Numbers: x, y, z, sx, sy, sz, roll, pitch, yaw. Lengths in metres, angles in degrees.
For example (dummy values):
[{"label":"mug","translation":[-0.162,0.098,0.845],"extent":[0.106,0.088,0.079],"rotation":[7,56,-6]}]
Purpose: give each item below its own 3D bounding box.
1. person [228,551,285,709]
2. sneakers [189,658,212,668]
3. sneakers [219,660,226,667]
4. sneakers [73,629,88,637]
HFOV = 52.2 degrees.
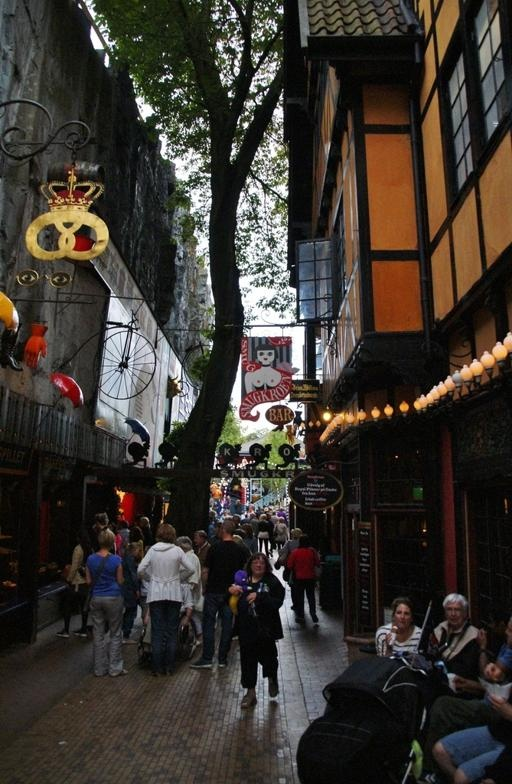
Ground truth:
[{"label":"person","translation":[-0.016,2.650,5.948],"extent":[0.597,1.619,0.834],"rotation":[2,-11,0]},{"label":"sneakers","translation":[-0.774,3.744,7.279],"extent":[0.277,0.139,0.118],"rotation":[4,-20,2]},{"label":"sneakers","translation":[-0.482,3.795,7.334],"extent":[0.049,0.070,0.150],"rotation":[-1,-34,4]},{"label":"sneakers","translation":[-3.163,4.352,9.466],"extent":[0.291,0.156,0.117],"rotation":[4,-14,3]}]
